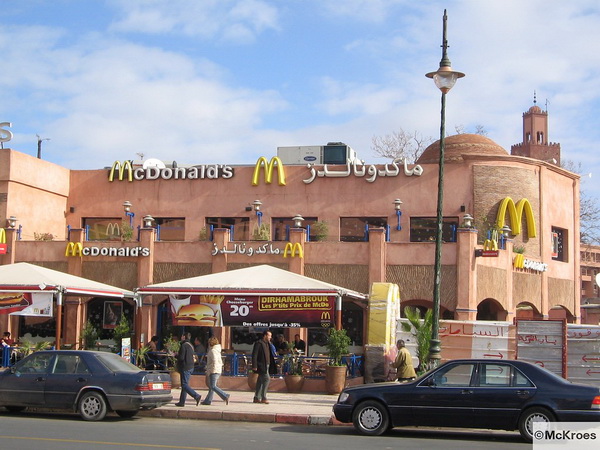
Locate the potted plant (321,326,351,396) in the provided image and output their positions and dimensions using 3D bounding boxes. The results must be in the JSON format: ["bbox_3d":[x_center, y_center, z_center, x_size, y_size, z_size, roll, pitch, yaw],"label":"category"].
[{"bbox_3d":[1.346,4.858,40.413,0.707,2.191,0.901,0,-3,-19],"label":"potted plant"}]

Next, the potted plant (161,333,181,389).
[{"bbox_3d":[-4.773,5.124,42.730,0.633,2.019,0.723,-5,-10,22],"label":"potted plant"}]

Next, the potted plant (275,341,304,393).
[{"bbox_3d":[-0.314,5.253,41.033,0.678,1.375,0.745,4,-6,-44],"label":"potted plant"}]

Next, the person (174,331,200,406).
[{"bbox_3d":[-3.651,4.771,36.962,0.834,2.185,0.637,-1,-5,9],"label":"person"}]
